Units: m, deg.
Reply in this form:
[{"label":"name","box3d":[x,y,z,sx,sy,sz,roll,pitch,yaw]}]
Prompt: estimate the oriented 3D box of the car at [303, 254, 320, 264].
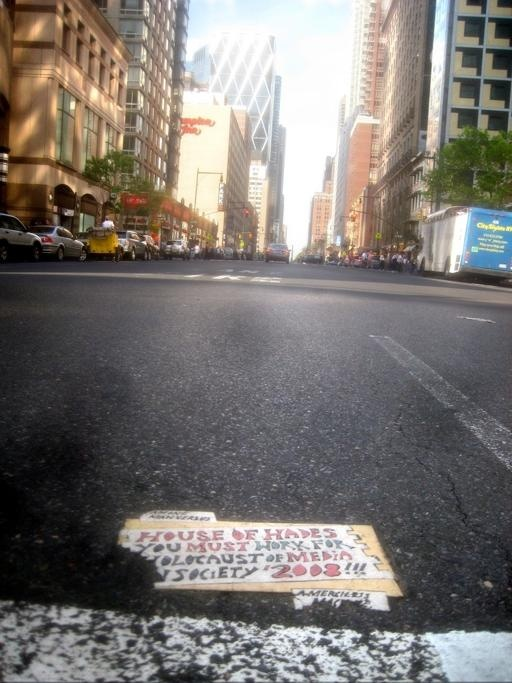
[{"label":"car","box3d":[9.267,-13.502,92.260,2.122,1.212,3.726,0,5,1]}]
